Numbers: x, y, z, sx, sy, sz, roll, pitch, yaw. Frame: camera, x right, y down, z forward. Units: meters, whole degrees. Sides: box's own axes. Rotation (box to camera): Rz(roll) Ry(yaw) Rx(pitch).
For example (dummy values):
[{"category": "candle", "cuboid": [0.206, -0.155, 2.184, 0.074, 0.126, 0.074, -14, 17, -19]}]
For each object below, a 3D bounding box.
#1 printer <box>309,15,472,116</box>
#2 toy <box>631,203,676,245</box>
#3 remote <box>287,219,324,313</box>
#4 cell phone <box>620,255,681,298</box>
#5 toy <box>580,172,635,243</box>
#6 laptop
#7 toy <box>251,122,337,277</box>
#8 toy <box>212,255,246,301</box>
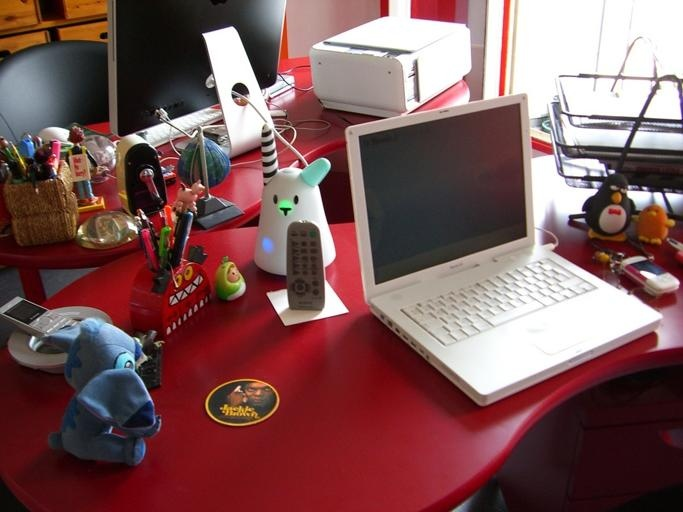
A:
[{"category": "printer", "cuboid": [0.162, -0.671, 1.937, 0.417, 0.261, 0.594, 18, 42, 31]}, {"category": "toy", "cuboid": [0.737, -0.071, 1.206, 0.051, 0.094, 0.085, -2, 11, -42]}, {"category": "remote", "cuboid": [-0.074, 0.018, 1.039, 0.076, 0.179, 0.039, -2, 8, 7]}, {"category": "cell phone", "cuboid": [0.651, 0.036, 1.078, 0.060, 0.028, 0.102, -19, 41, -25]}, {"category": "toy", "cuboid": [0.633, -0.109, 1.242, 0.096, 0.157, 0.111, -7, 29, -14]}, {"category": "laptop", "cuboid": [0.343, 0.002, 1.048, 0.516, 0.394, 0.641, -17, 36, -22]}, {"category": "toy", "cuboid": [-0.118, -0.107, 1.152, 0.159, 0.330, 0.175, -6, 33, -16]}, {"category": "toy", "cuboid": [-0.240, 0.051, 1.086, 0.049, 0.076, 0.052, 17, 33, 27]}]
